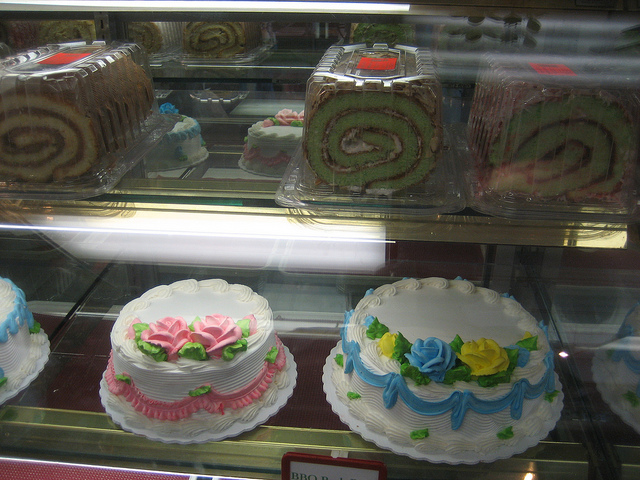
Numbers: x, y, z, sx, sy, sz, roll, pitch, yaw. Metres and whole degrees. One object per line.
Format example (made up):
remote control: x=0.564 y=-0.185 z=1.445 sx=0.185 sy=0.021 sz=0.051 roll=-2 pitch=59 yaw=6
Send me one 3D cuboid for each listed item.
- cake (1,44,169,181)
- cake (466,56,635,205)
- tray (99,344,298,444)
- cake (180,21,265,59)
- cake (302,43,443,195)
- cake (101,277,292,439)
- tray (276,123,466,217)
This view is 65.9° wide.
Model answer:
cake: x=-0.989 y=-0.548 z=2.011 sx=0.418 sy=0.469 sz=0.722 roll=3 pitch=20 yaw=6
cake: x=0.837 y=-0.364 z=1.879 sx=0.578 sy=0.538 sz=0.469 roll=0 pitch=14 yaw=19
tray: x=-0.550 y=0.665 z=2.080 sx=0.811 sy=0.026 sz=0.797 roll=4 pitch=11 yaw=-41
cake: x=-0.522 y=-1.132 z=2.805 sx=0.329 sy=0.191 sz=0.670 roll=-15 pitch=25 yaw=-36
cake: x=0.209 y=-0.503 z=2.017 sx=0.555 sy=0.457 sz=0.665 roll=2 pitch=26 yaw=1
cake: x=-0.534 y=0.472 z=2.100 sx=0.734 sy=0.323 sz=0.709 roll=0 pitch=14 yaw=-12
tray: x=0.180 y=-0.233 z=1.802 sx=0.641 sy=0.194 sz=0.442 roll=3 pitch=20 yaw=5
